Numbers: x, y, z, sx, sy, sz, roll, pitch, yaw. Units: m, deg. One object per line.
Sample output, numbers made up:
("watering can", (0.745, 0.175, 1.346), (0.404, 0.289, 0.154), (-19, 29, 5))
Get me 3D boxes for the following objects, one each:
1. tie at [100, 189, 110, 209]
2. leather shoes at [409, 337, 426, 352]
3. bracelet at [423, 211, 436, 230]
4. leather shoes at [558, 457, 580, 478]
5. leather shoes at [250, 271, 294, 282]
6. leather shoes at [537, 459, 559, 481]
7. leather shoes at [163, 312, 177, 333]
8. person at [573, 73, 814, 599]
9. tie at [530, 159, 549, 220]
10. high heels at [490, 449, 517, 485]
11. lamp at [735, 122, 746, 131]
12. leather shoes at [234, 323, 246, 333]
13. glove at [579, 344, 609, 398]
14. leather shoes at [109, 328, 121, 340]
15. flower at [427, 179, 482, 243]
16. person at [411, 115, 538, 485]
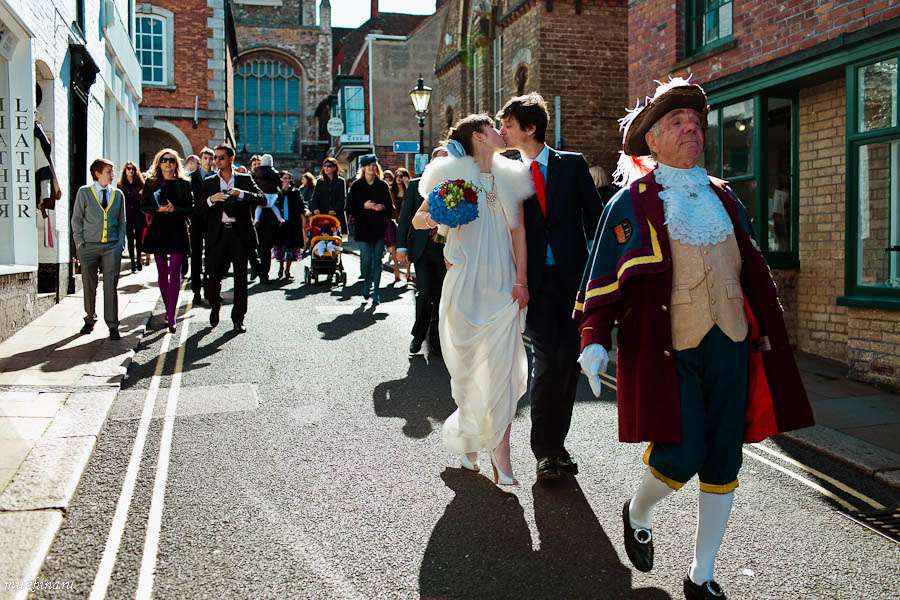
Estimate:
("tie", (-4.879, -1.438, 10.112), (0.097, 0.259, 0.224), (-3, 11, -24))
("leather shoes", (-0.442, 0.612, 9.495), (0.144, 0.218, 0.210), (2, -6, -15))
("bracelet", (-0.165, -0.650, 5.860), (0.054, 0.138, 0.105), (-10, -16, 14))
("leather shoes", (0.967, 1.350, 5.806), (0.117, 0.043, 0.161), (-30, 67, -27))
("leather shoes", (-4.239, -0.560, 17.010), (0.570, 0.262, 0.185), (-8, 9, -10))
("leather shoes", (0.779, 1.327, 5.621), (0.185, 0.194, 0.140), (1, 10, 0))
("leather shoes", (-4.238, 0.366, 10.736), (0.175, 0.238, 0.577), (-2, -2, -30))
("person", (1.412, 0.212, 4.298), (1.316, 3.043, 0.799), (3, 10, 11))
("tie", (0.706, -0.891, 5.614), (0.081, 0.518, 0.039), (-4, -5, 2))
("high heels", (0.427, 1.292, 5.546), (0.216, 0.309, 0.131), (4, 10, 16))
("lamp", (4.455, -2.655, 10.947), (0.091, 0.097, 0.101), (-4, 37, -3))
("leather shoes", (-3.138, 0.428, 10.676), (0.141, 0.045, 0.149), (10, 48, -21))
("glove", (0.888, 0.403, 4.259), (0.152, 0.216, 0.342), (8, 48, -6))
("leather shoes", (-4.568, 0.468, 9.770), (0.102, 0.095, 0.215), (-2, -2, -36))
("flower", (0.019, -0.770, 5.651), (0.482, 0.302, 0.482), (22, 37, 26))
("person", (0.221, -0.019, 5.644), (0.798, 2.836, 0.628), (3, 10, 13))
